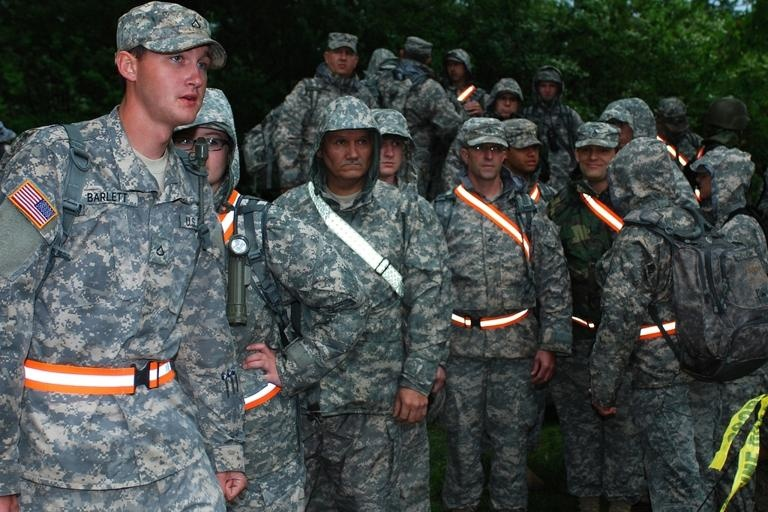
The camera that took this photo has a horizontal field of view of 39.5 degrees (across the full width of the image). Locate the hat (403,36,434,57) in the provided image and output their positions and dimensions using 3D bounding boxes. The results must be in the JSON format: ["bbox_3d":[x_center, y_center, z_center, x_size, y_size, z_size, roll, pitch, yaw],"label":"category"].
[{"bbox_3d":[0.394,-2.483,12.760,0.266,0.185,0.299,12,10,-1],"label":"hat"}]

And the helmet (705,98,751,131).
[{"bbox_3d":[3.603,-1.521,11.232,0.330,0.298,0.414,9,27,29],"label":"helmet"}]
